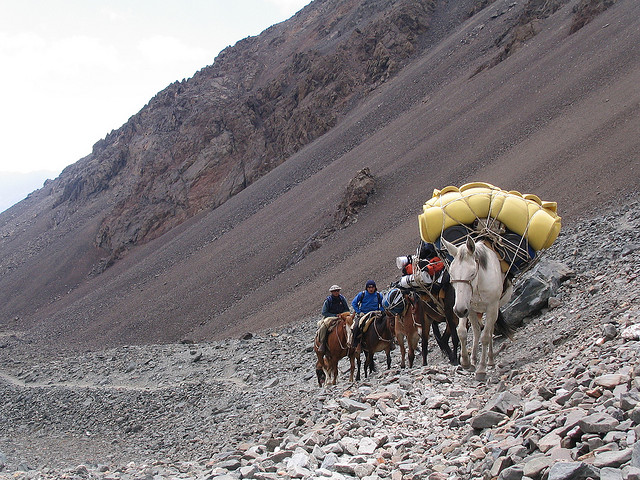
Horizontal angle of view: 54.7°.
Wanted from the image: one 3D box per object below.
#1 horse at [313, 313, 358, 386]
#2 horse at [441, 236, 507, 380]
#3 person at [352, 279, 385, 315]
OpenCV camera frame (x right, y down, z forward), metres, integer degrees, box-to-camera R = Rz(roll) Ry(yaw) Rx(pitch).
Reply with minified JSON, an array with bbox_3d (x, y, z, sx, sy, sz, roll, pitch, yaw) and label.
[{"bbox_3d":[0.530,3.168,17.553,0.790,1.742,1.951,11,-31,-28],"label":"horse"},{"bbox_3d":[3.642,1.463,13.869,1.200,2.928,2.082,-11,-27,11],"label":"horse"},{"bbox_3d":[1.452,1.767,18.186,1.187,1.339,0.875,-1,-16,5],"label":"person"}]
